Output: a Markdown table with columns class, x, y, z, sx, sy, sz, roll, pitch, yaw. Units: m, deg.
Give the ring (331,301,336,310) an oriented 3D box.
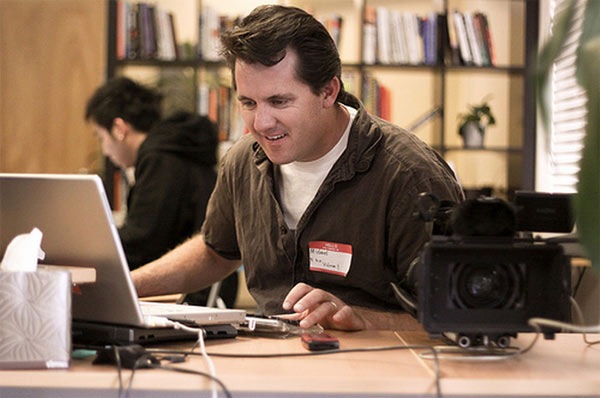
| class | x | y | z | sx | sy | sz | roll | pitch | yaw |
| --- | --- | --- | --- | --- | --- | --- | --- | --- | --- |
| ring | 0.092 | 0.282 | 1.692 | 0.019 | 0.006 | 0.016 | 40 | 29 | 13 |
